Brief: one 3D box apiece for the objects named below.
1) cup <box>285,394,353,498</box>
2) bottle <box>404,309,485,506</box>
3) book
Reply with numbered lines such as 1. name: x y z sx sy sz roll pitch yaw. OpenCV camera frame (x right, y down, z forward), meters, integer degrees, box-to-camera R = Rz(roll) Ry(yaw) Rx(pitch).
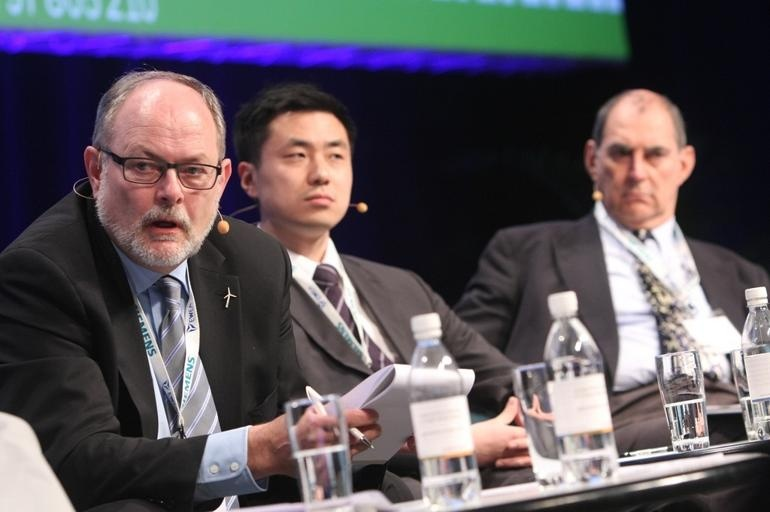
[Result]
1. cup: -0.162 0.486 2.143 0.142 0.254 0.071 -6 -6 -10
2. bottle: 0.144 0.398 2.244 0.150 0.492 0.176 -7 -6 1
3. book: 0.106 0.480 2.786 0.382 0.101 0.377 -18 7 6
